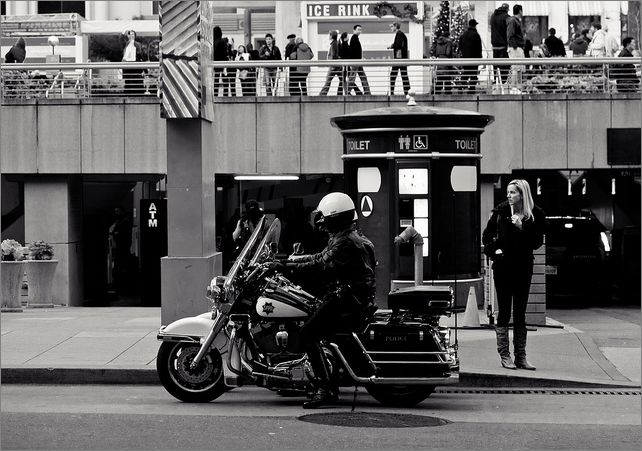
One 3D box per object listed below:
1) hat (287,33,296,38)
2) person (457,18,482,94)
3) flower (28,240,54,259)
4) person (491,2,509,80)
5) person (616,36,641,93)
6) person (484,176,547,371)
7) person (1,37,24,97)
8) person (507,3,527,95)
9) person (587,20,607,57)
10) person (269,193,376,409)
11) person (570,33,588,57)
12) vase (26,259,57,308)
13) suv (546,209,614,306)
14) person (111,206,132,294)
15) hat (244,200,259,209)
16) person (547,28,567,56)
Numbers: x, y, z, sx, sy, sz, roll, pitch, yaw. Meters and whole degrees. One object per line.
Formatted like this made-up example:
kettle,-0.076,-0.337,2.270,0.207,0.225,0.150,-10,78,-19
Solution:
hat,-0.800,-4.801,36.287,0.248,0.089,0.255,-1,4,32
person,3.633,-4.093,34.543,0.539,1.876,1.336,0,2,5
flower,-6.618,0.639,33.481,0.418,0.321,0.419,2,-7,-11
person,4.360,-4.418,34.614,0.428,1.931,1.168,0,2,7
person,7.410,-3.866,34.352,0.546,1.441,1.408,0,2,12
person,3.489,0.939,25.798,1.105,3.445,0.426,0,2,7
person,-7.650,-3.891,35.360,0.503,1.483,1.495,-1,2,-13
person,4.745,-4.265,34.505,0.427,2.240,1.551,0,2,8
person,6.980,-4.576,36.026,0.391,1.294,0.651,-5,44,-1
person,0.213,1.326,24.233,1.416,3.649,0.460,0,2,1
person,6.619,-4.590,36.365,0.444,0.613,0.951,0,2,10
vase,-6.606,1.440,33.507,0.685,1.147,0.443,-1,2,-12
suv,6.569,0.953,35.087,2.000,2.835,2.945,0,-3,8
person,-5.646,0.852,40.081,0.557,2.264,0.794,0,2,-8
hat,-1.334,-0.382,27.260,0.207,0.169,0.186,2,-7,-1
person,5.853,-4.498,35.384,0.512,0.703,0.841,0,2,1
